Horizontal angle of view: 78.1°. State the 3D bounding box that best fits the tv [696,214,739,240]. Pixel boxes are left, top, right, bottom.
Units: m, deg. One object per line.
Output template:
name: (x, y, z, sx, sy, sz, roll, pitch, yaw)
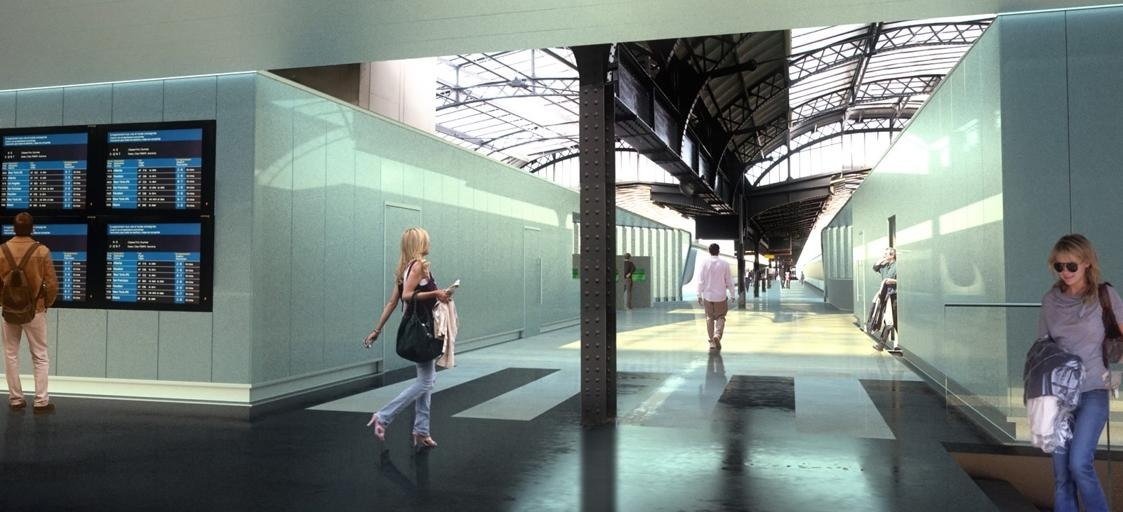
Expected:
tv: (8.397, -1.422, 36.622, 2.605, 1.365, 1.408, -3, -8, 36)
